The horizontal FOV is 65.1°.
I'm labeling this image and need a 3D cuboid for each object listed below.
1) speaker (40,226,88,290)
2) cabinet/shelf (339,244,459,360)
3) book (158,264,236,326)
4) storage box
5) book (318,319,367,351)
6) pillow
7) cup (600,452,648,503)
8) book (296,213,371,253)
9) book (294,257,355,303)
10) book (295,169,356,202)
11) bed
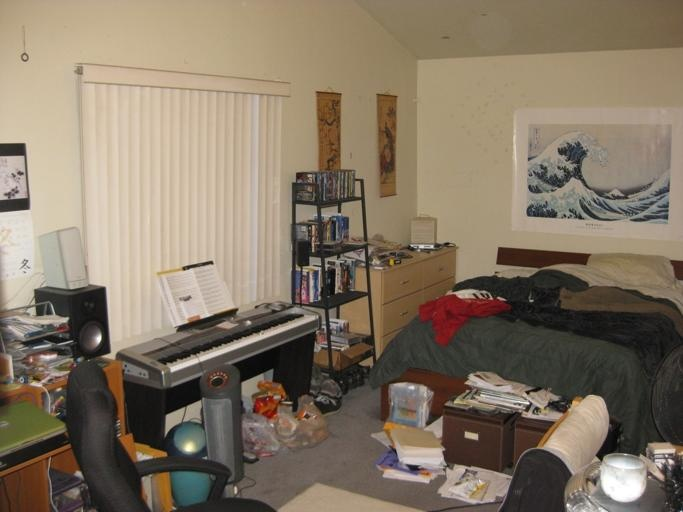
[{"bbox_3d":[-1.679,0.018,3.190,0.272,0.360,0.115,-1,9,13],"label":"speaker"},{"bbox_3d":[0.497,0.462,5.136,0.378,0.647,1.087,4,13,31],"label":"cabinet/shelf"},{"bbox_3d":[-1.032,0.267,3.795,0.176,0.405,0.490,-18,-3,38],"label":"book"},{"bbox_3d":[1.057,1.269,3.678,0.738,0.457,0.252,2,10,30],"label":"storage box"},{"bbox_3d":[0.001,0.749,5.071,0.308,0.072,0.310,5,11,29],"label":"book"},{"bbox_3d":[3.014,0.144,5.477,0.550,0.141,0.467,2,15,18],"label":"pillow"},{"bbox_3d":[0.873,0.689,1.707,0.168,0.117,0.134,-3,3,14],"label":"cup"},{"bbox_3d":[-0.118,-0.210,5.070,0.391,0.169,0.528,5,8,26],"label":"book"},{"bbox_3d":[-0.155,0.232,5.091,0.378,0.346,0.555,1,9,28],"label":"book"},{"bbox_3d":[-0.149,-0.658,5.047,0.348,0.288,0.586,4,11,40],"label":"book"},{"bbox_3d":[2.704,0.833,6.496,1.914,1.088,1.836,-5,7,-39],"label":"bed"}]
